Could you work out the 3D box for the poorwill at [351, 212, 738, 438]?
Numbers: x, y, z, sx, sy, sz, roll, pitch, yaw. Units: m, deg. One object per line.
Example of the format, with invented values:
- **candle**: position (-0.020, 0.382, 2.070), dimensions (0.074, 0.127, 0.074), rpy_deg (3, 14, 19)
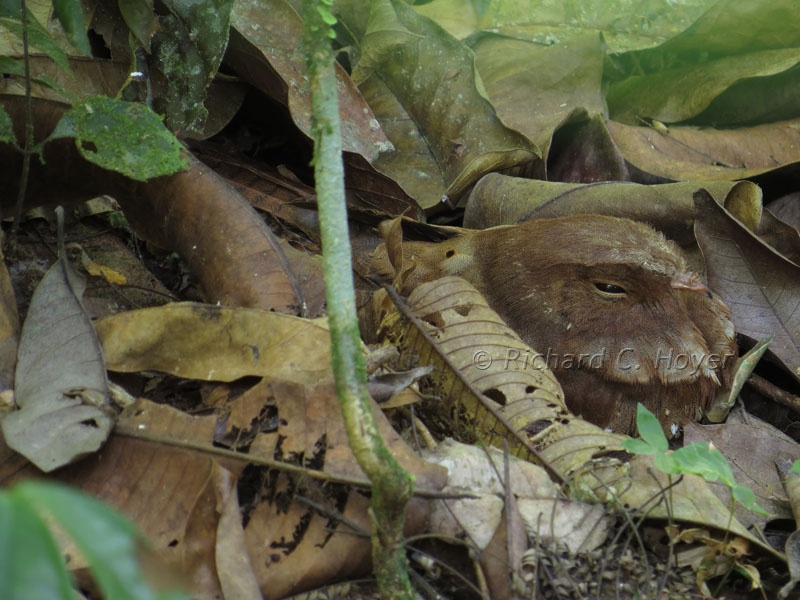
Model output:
- **poorwill**: position (0.433, 0.041, 3.792), dimensions (1.063, 0.593, 0.666), rpy_deg (19, 33, -10)
